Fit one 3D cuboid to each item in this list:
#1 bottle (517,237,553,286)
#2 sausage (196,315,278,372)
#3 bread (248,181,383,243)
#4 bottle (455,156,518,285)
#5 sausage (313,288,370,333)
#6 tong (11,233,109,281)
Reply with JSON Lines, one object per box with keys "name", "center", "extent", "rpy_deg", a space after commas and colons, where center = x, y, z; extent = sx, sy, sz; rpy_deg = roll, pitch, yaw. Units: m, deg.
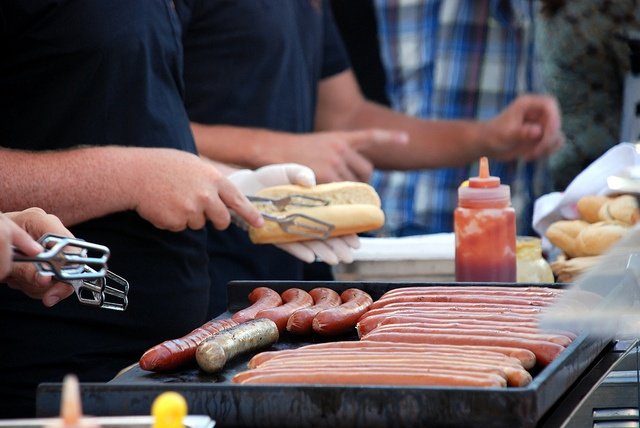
{"name": "bottle", "center": [0.784, 0.180, 2.767], "extent": [0.156, 0.156, 0.165], "rpy_deg": [-2, -6, -6]}
{"name": "sausage", "center": [-0.245, 0.392, 2.307], "extent": [0.091, 0.090, 0.322], "rpy_deg": [-18, -3, 33]}
{"name": "bread", "center": [-0.025, -0.029, 3.113], "extent": [0.511, 0.256, 0.183], "rpy_deg": [-7, 29, -14]}
{"name": "bottle", "center": [0.592, 0.075, 2.674], "extent": [0.209, 0.319, 0.163], "rpy_deg": [-1, 26, 11]}
{"name": "sausage", "center": [0.081, 0.313, 2.435], "extent": [0.098, 0.052, 0.191], "rpy_deg": [23, 25, 30]}
{"name": "tong", "center": [-0.705, 0.121, 2.035], "extent": [0.248, 0.125, 0.064], "rpy_deg": [8, -7, -20]}
